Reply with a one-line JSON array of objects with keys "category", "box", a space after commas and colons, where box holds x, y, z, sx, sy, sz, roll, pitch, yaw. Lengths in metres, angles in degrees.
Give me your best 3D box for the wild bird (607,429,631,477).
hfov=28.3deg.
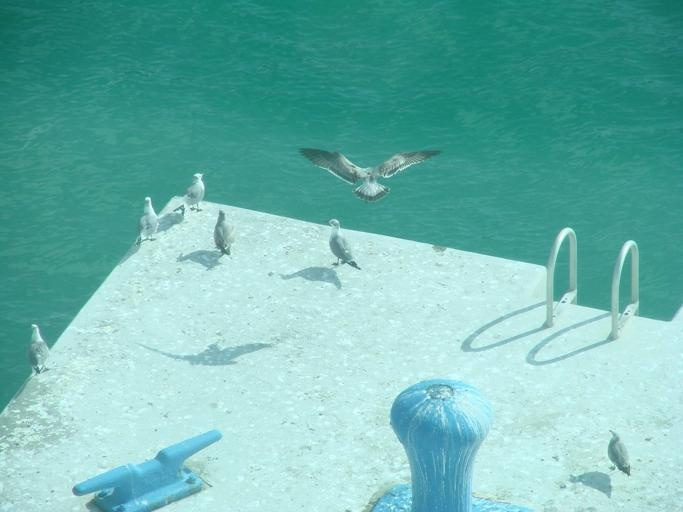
[{"category": "wild bird", "box": [5.343, 3.845, 26.157, 0.411, 0.747, 0.733, -7, 36, 9]}]
